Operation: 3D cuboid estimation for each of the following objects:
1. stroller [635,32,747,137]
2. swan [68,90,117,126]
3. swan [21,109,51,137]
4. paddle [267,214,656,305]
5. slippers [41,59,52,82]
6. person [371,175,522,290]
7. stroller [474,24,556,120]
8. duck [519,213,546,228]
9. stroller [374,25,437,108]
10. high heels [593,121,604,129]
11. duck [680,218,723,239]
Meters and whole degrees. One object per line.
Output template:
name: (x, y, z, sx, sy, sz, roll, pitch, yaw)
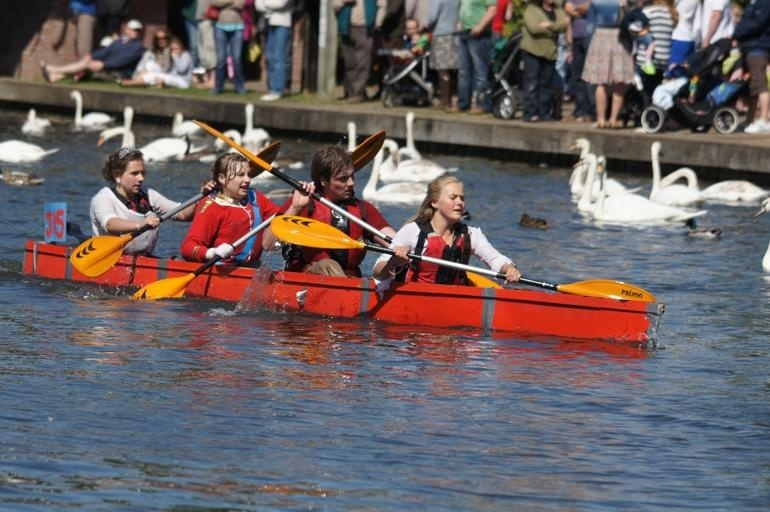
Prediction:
stroller: (4.811, -2.612, 24.541, 1.467, 1.586, 0.698, 16, 23, 41)
swan: (-5.478, -2.744, 29.824, 0.990, 0.727, 0.390, -10, 25, -43)
swan: (-6.393, -2.393, 29.358, 0.519, 0.450, 0.630, -1, 33, -2)
paddle: (0.844, 0.078, 18.403, 4.555, 0.407, 0.452, 11, 40, -16)
slippers: (-6.702, -3.655, 31.688, 0.218, 0.499, 0.148, -11, -7, -2)
person: (0.629, -0.233, 17.843, 1.493, 1.378, 0.788, 1, 17, -1)
stroller: (2.243, -3.043, 26.517, 1.104, 1.513, 1.315, -10, 20, -34)
duck: (2.069, -0.495, 22.195, 0.381, 0.136, 0.176, 10, 9, 33)
stroller: (0.371, -3.315, 27.543, 0.987, 1.588, 0.978, 2, 17, 2)
high heels: (3.373, -2.114, 25.426, 0.196, 0.128, 0.210, 7, 16, 18)
duck: (4.344, -0.379, 21.936, 0.495, 0.163, 0.795, 3, 15, 8)
